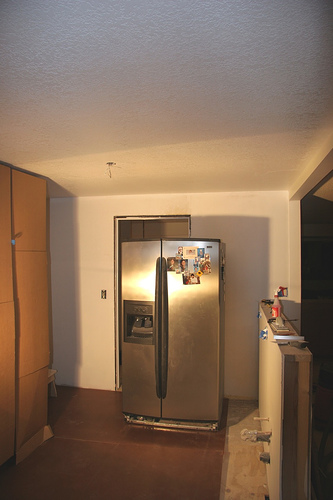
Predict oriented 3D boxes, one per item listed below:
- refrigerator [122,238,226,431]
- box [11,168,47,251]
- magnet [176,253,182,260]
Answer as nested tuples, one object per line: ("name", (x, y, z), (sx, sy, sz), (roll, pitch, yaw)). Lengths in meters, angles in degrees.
("refrigerator", (0.039, 0.748, 3.430), (0.896, 1.706, 0.288), (0, -1, -1))
("box", (-1.229, -0.294, 3.341), (0.229, 0.649, 0.681), (-3, 1, -26))
("magnet", (0.104, 0.057, 3.352), (0.064, 0.064, 0.035), (0, -3, 9))
